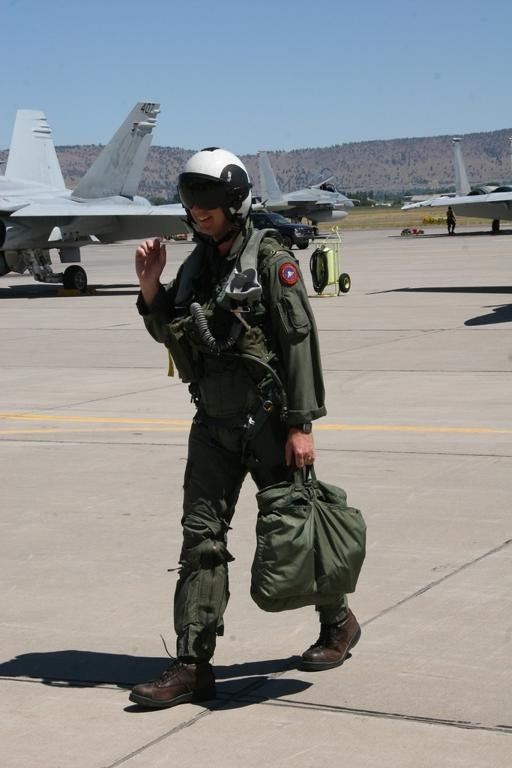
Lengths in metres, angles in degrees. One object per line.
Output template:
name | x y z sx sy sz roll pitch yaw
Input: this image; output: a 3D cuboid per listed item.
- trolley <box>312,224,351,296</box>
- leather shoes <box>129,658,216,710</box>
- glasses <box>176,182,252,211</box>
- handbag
trolley | 1.654 -3.123 22.774 1.317 1.622 1.022 4 14 15
leather shoes | -0.295 1.128 3.438 0.393 0.148 0.128 0 0 -19
glasses | -0.150 -0.709 3.518 0.144 0.051 0.163 2 3 44
handbag | 0.184 0.641 3.467 0.505 0.580 0.320 -6 12 -16
